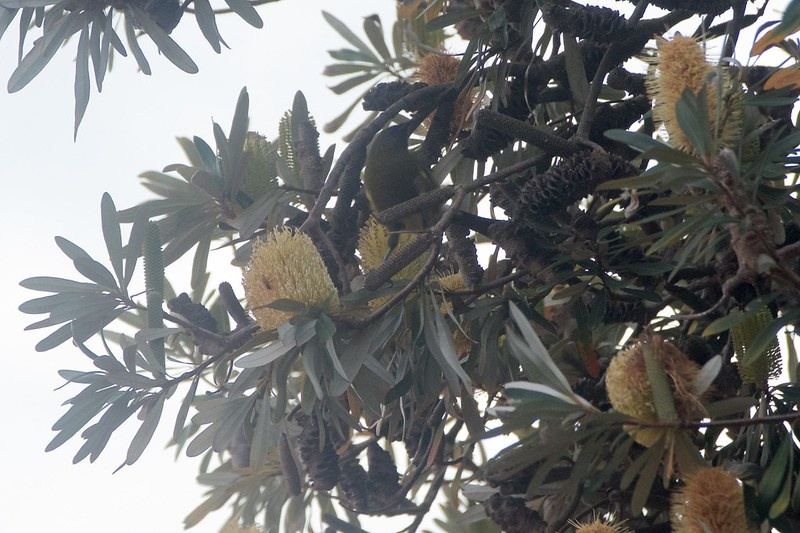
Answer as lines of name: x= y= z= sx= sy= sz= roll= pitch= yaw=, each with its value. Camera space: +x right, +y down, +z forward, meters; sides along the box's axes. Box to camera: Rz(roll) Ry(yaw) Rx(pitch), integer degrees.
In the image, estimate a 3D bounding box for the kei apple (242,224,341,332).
kei apple: x=-0.152 y=0.017 z=2.161 sx=0.096 sy=0.159 sz=0.113 roll=-8 pitch=-9 yaw=43
